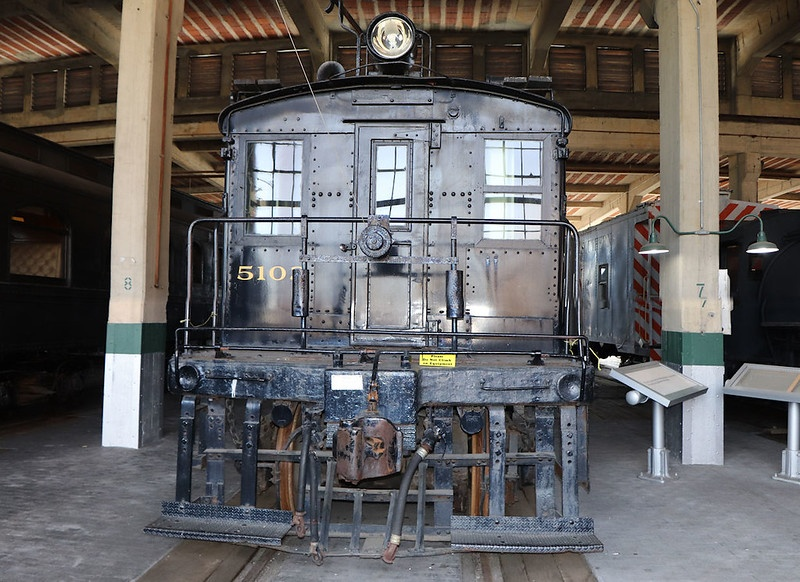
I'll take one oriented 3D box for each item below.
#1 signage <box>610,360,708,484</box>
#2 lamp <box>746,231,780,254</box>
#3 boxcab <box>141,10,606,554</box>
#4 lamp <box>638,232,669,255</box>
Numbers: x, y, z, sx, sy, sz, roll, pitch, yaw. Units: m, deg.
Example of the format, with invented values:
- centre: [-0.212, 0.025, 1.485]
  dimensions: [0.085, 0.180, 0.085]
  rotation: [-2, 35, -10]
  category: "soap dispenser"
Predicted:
- centre: [3.372, 1.700, 9.856]
  dimensions: [1.184, 1.451, 0.788]
  rotation: [-8, 15, -33]
  category: "signage"
- centre: [5.496, -0.750, 11.214]
  dimensions: [0.419, 0.286, 0.398]
  rotation: [-5, 7, -33]
  category: "lamp"
- centre: [-0.113, -0.168, 8.174]
  dimensions: [4.170, 5.812, 2.498]
  rotation: [1, 12, 3]
  category: "boxcab"
- centre: [3.524, -0.634, 10.287]
  dimensions: [0.358, 0.223, 0.344]
  rotation: [-5, 8, -26]
  category: "lamp"
